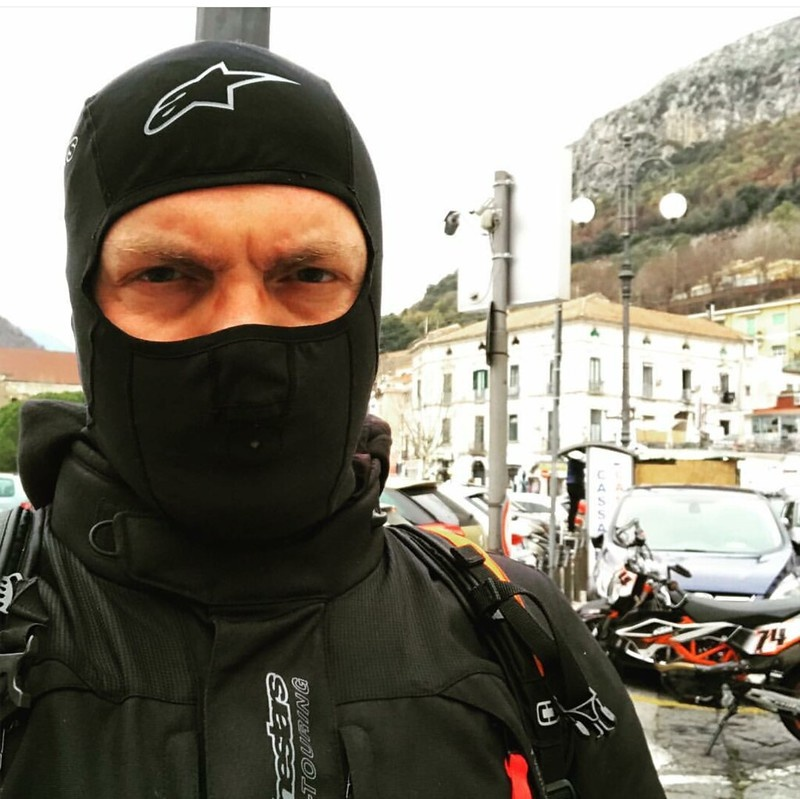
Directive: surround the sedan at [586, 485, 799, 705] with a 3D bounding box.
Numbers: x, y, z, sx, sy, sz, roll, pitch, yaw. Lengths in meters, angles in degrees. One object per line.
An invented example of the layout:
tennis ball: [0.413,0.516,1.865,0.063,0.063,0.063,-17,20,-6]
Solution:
sedan: [2.319,1.172,7.284,1.365,1.206,2.380,6,-10,12]
